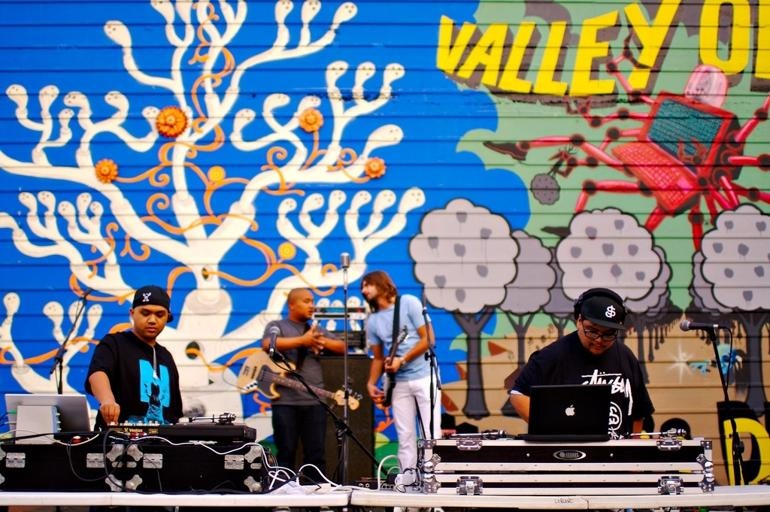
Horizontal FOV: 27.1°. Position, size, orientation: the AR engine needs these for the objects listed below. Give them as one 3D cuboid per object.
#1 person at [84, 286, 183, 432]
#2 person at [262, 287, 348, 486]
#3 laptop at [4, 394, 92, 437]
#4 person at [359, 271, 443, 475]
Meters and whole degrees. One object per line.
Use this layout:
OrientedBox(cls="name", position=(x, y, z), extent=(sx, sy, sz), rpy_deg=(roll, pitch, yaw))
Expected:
OrientedBox(cls="person", position=(-2.535, 1.021, 16.126), extent=(0.974, 1.445, 0.592), rpy_deg=(1, -10, -11))
OrientedBox(cls="person", position=(-0.921, 1.498, 17.520), extent=(1.000, 2.237, 0.638), rpy_deg=(0, 2, -21))
OrientedBox(cls="laptop", position=(-3.331, 1.553, 15.706), extent=(0.805, 0.378, 0.139), rpy_deg=(-1, -10, 2))
OrientedBox(cls="person", position=(0.176, 1.360, 17.661), extent=(0.764, 2.430, 0.701), rpy_deg=(-7, 1, -13))
